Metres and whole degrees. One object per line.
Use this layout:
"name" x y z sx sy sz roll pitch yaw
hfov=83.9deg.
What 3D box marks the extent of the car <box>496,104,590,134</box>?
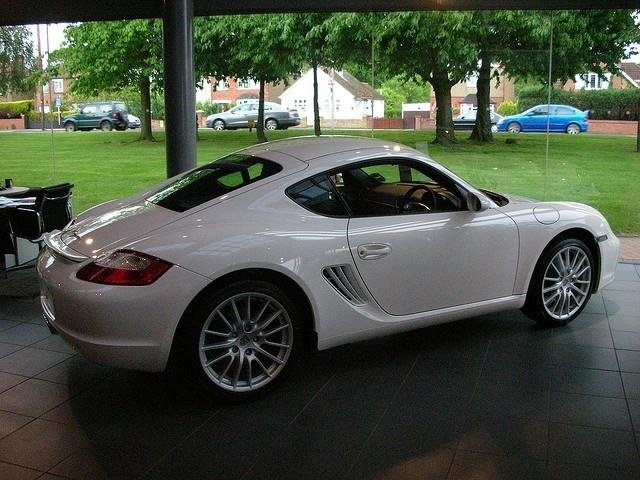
"car" 5.264 -2.780 8.415 1.960 0.593 0.787 2 13 5
